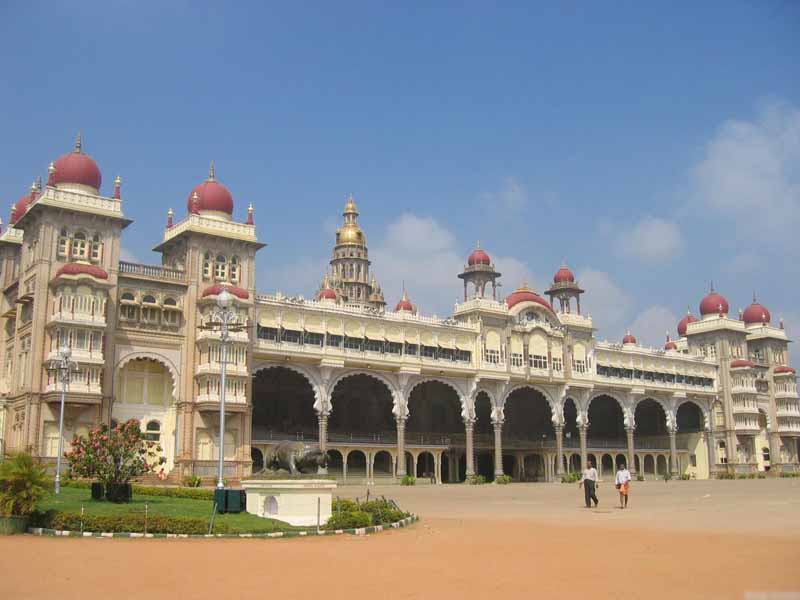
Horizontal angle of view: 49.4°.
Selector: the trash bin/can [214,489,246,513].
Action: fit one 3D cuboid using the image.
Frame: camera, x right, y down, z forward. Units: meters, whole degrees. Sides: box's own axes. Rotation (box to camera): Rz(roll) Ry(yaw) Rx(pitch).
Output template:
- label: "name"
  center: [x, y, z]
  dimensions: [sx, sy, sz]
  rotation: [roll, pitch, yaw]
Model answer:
- label: "trash bin/can"
  center: [-6.179, 7.279, 31.409]
  dimensions: [0.957, 0.703, 0.499]
  rotation: [6, -12, -31]
